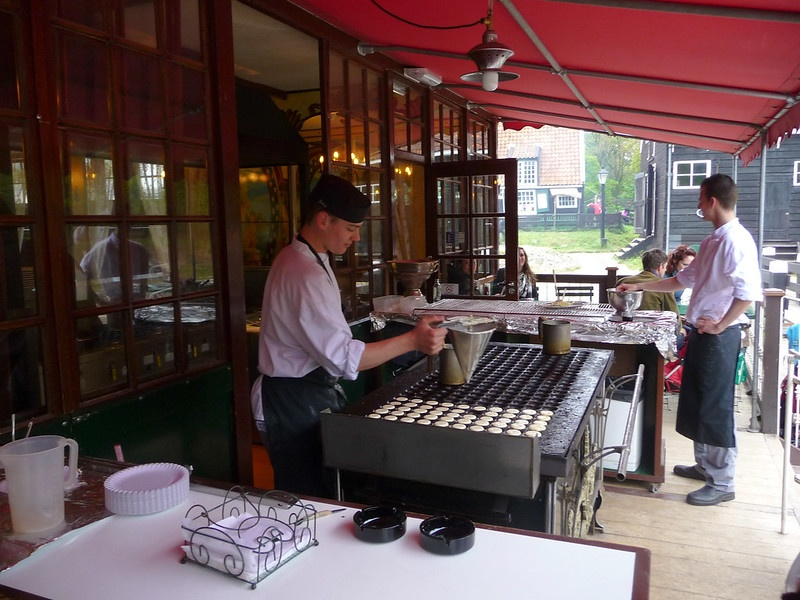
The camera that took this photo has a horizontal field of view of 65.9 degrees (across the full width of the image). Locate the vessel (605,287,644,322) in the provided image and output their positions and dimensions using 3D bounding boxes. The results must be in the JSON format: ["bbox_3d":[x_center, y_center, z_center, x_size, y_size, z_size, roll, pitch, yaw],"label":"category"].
[{"bbox_3d":[1.498,0.029,4.107,0.217,0.173,0.203,5,-2,-22],"label":"vessel"}]

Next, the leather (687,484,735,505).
[{"bbox_3d":[1.953,1.239,3.889,0.302,0.112,0.115,2,-5,-10],"label":"leather"}]

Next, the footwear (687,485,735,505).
[{"bbox_3d":[1.956,1.230,3.918,0.303,0.112,0.116,2,-5,-10],"label":"footwear"}]

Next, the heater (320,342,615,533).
[{"bbox_3d":[0.229,0.479,2.191,0.503,0.356,0.964,1,2,21],"label":"heater"}]

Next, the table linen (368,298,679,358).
[{"bbox_3d":[1.004,0.263,4.156,1.065,0.205,0.464,12,5,16],"label":"table linen"}]

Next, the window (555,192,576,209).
[{"bbox_3d":[8.076,-4.865,30.186,0.757,0.756,0.065,4,4,3],"label":"window"}]

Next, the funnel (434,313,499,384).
[{"bbox_3d":[0.253,0.203,2.388,0.201,0.241,0.238,-2,5,-26],"label":"funnel"}]

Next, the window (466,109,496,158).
[{"bbox_3d":[0.920,-1.916,7.107,0.055,0.479,0.728,-1,0,27],"label":"window"}]
